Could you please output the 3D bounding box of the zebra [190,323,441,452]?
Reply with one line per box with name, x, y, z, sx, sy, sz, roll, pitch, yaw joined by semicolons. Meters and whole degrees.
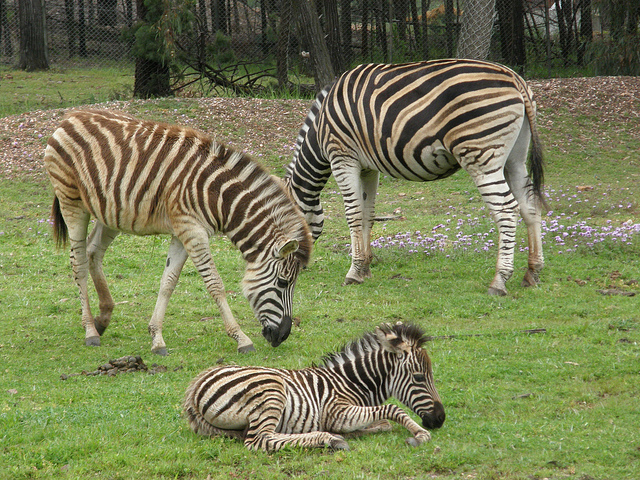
zebra;-0.017;1.867;12.777;3.460;1.666;1.239;-4;-12;-9
